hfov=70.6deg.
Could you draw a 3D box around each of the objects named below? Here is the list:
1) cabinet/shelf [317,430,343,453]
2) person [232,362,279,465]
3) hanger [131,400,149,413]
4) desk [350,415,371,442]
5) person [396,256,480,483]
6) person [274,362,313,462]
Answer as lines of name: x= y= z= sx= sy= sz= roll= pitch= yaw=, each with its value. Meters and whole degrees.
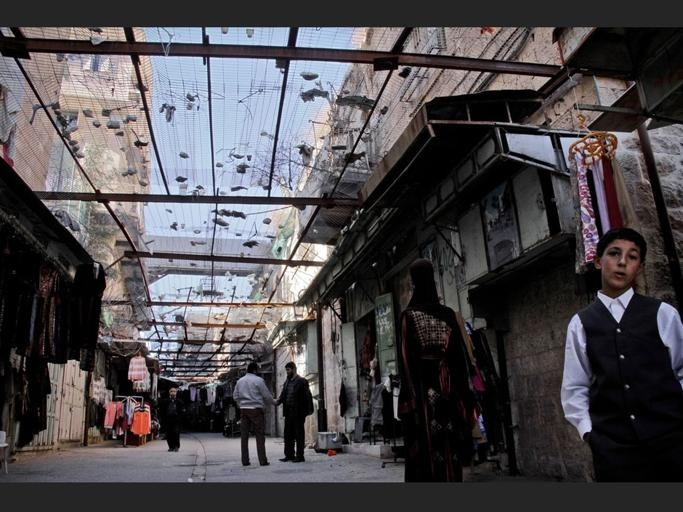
cabinet/shelf: x=-0.305 y=4.660 z=12.086 sx=0.467 sy=0.455 sz=0.762 roll=3 pitch=-11 yaw=-14
person: x=-1.723 y=3.003 z=9.307 sx=0.754 sy=1.942 sz=1.415 roll=2 pitch=-14 yaw=-10
hanger: x=-6.928 y=5.178 z=16.652 sx=0.478 sy=0.228 sz=0.643 roll=3 pitch=-12 yaw=-19
desk: x=0.494 y=4.079 z=11.331 sx=0.341 sy=0.602 sz=0.798 roll=1 pitch=-14 yaw=-6
person: x=0.730 y=0.852 z=3.738 sx=0.583 sy=1.691 sz=0.274 roll=-1 pitch=-14 yaw=5
person: x=-0.941 y=3.109 z=9.680 sx=0.659 sy=1.952 sz=1.065 roll=1 pitch=-14 yaw=-3
